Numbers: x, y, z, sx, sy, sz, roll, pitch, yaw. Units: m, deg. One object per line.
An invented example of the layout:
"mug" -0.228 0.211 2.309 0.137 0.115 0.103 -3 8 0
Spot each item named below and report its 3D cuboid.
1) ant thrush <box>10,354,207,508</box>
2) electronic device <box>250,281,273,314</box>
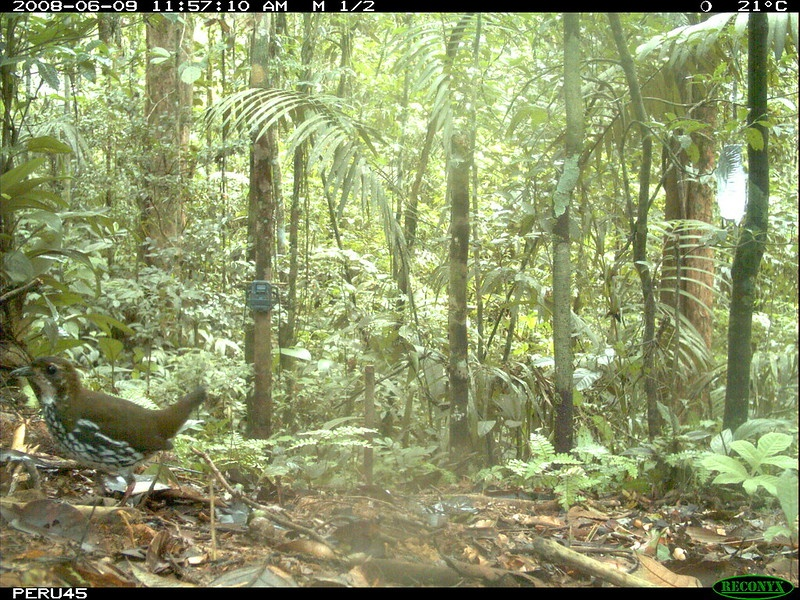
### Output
"ant thrush" -1.174 0.555 3.680 0.831 0.580 0.315 0 10 15
"electronic device" -0.843 -0.023 5.161 0.150 0.194 0.124 2 11 -10
